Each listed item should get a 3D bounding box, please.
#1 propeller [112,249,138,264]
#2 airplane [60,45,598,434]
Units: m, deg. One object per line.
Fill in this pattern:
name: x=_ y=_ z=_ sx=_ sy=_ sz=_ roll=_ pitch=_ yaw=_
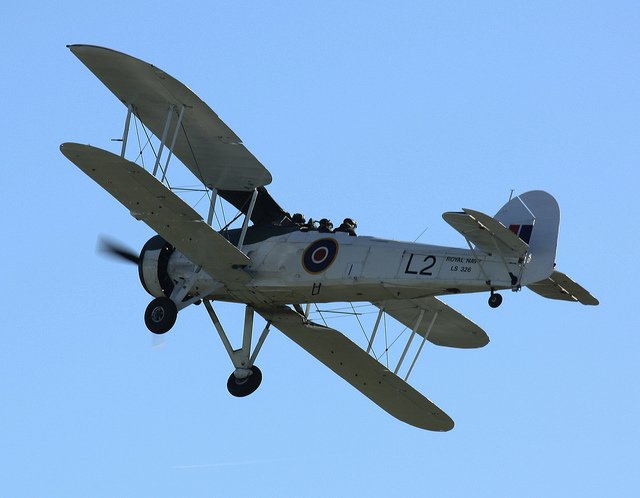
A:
propeller: x=-3.759 y=0.145 z=17.627 sx=0.593 sy=0.085 sz=0.070 roll=22 pitch=-89 yaw=12
airplane: x=0.323 y=0.216 z=16.110 sx=7.291 sy=2.567 sz=9.699 roll=2 pitch=-19 yaw=27
